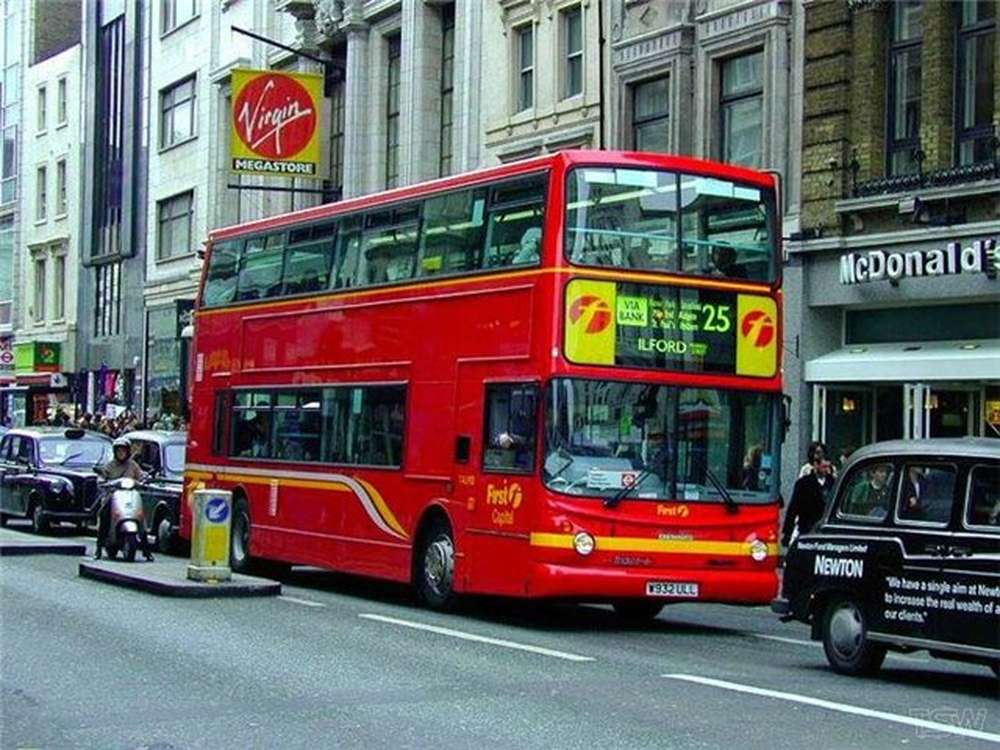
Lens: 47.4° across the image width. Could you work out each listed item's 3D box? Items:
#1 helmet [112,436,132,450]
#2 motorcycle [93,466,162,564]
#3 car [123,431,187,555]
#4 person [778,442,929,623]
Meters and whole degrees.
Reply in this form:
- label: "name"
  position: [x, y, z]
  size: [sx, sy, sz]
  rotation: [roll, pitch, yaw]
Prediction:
- label: "helmet"
  position: [-6.505, 1.165, 19.626]
  size: [0.405, 0.217, 0.607]
  rotation: [0, -4, -5]
- label: "motorcycle"
  position: [-6.190, 2.406, 18.660]
  size: [0.849, 1.430, 1.589]
  rotation: [-2, 9, -22]
- label: "car"
  position: [-6.514, 2.054, 22.092]
  size: [1.072, 1.544, 2.805]
  rotation: [1, 2, -21]
- label: "person"
  position: [3.473, 1.397, 10.687]
  size: [1.011, 1.011, 1.673]
  rotation: [3, -9, -43]
